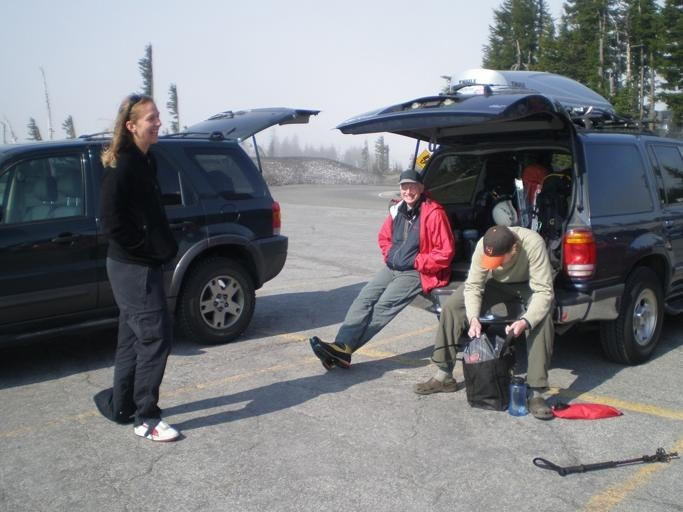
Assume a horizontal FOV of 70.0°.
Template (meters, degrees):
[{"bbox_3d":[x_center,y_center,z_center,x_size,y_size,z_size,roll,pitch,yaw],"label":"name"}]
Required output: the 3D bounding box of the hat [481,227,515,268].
[{"bbox_3d":[1.358,-0.062,4.163,0.297,0.369,0.214,1,9,11],"label":"hat"}]

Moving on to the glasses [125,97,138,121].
[{"bbox_3d":[-1.480,-1.055,3.494,0.093,0.186,0.102,-2,9,-8],"label":"glasses"}]

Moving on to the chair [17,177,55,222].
[{"bbox_3d":[-2.989,-0.563,4.833,0.379,0.446,0.417,2,4,-9],"label":"chair"}]

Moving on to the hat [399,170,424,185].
[{"bbox_3d":[0.712,-0.811,5.026,0.201,0.162,0.333,1,8,6],"label":"hat"}]

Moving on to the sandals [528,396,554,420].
[{"bbox_3d":[1.662,1.259,4.066,0.213,0.157,0.180,4,10,27],"label":"sandals"}]

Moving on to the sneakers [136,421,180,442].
[{"bbox_3d":[-1.394,1.306,3.697,0.314,0.106,0.138,0,2,24],"label":"sneakers"}]

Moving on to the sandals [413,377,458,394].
[{"bbox_3d":[0.894,1.214,4.580,0.376,0.124,0.152,1,-2,-2],"label":"sandals"}]

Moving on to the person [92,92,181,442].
[{"bbox_3d":[-1.502,0.104,3.591,0.574,2.554,0.445,-3,10,-11],"label":"person"}]

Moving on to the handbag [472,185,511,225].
[{"bbox_3d":[1.842,-0.602,5.905,0.386,0.459,0.489,5,51,40],"label":"handbag"}]

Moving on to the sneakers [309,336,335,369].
[{"bbox_3d":[-0.186,1.007,5.017,0.234,0.407,0.229,-1,9,-4],"label":"sneakers"}]
